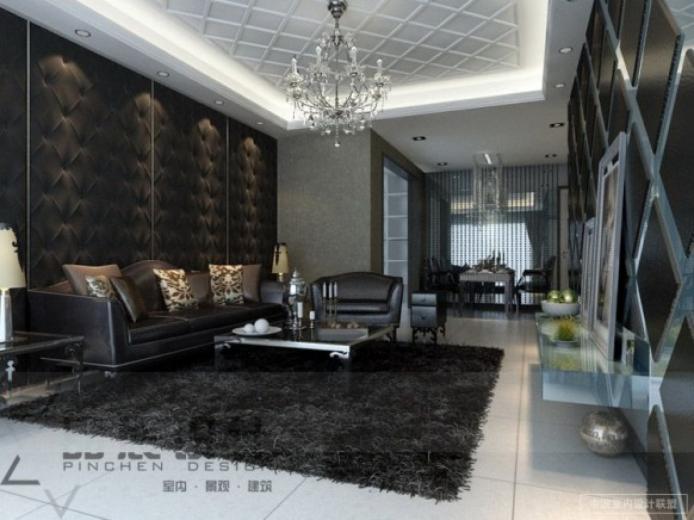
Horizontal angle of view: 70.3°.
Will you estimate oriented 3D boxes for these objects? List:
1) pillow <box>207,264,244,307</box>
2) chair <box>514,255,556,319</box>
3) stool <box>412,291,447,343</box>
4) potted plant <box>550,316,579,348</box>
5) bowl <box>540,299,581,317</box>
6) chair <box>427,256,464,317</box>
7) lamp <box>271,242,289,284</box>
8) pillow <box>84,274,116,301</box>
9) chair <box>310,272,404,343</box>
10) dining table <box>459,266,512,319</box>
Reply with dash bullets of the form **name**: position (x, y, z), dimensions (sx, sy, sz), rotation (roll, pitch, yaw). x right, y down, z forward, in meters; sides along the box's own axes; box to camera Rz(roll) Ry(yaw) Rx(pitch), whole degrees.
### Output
- **pillow**: position (-1.409, 0.308, 5.729), dimensions (0.383, 0.508, 0.186), rotation (3, -16, -34)
- **chair**: position (3.538, 0.409, 9.212), dimensions (0.616, 1.107, 1.317), rotation (3, 9, 23)
- **stool**: position (0.901, 0.691, 5.596), dimensions (0.313, 0.574, 0.516), rotation (0, -9, 12)
- **potted plant**: position (1.380, 0.447, 3.083), dimensions (0.171, 0.224, 0.179), rotation (4, -9, -18)
- **bowl**: position (1.657, 0.377, 3.824), dimensions (0.274, 0.148, 0.222), rotation (4, 10, 28)
- **chair**: position (1.995, 0.517, 9.696), dimensions (0.687, 1.121, 0.826), rotation (0, 0, 42)
- **lamp**: position (-0.924, 0.020, 7.024), dimensions (0.325, 0.595, 0.336), rotation (-1, 8, 1)
- **pillow**: position (-2.094, 0.236, 4.192), dimensions (0.070, 0.138, 0.184), rotation (-4, 5, 10)
- **chair**: position (0.147, 0.528, 6.021), dimensions (1.085, 0.728, 0.653), rotation (0, 1, 2)
- **dining table**: position (2.429, 0.745, 8.570), dimensions (0.711, 0.614, 1.217), rotation (0, 1, 17)
